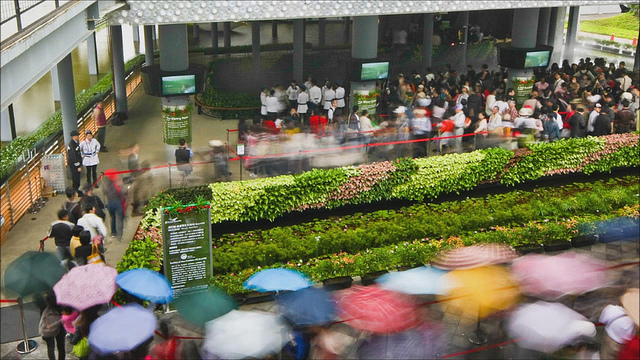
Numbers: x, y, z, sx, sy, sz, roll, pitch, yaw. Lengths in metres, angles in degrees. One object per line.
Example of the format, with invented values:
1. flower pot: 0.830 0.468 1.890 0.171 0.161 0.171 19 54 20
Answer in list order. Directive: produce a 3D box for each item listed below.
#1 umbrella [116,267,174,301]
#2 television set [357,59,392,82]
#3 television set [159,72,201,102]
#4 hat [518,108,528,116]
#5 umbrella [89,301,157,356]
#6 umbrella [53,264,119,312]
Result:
1. umbrella: -4.222 2.532 13.046 1.212 0.654 0.665 -3 17 8
2. television set: 2.313 -4.750 23.533 1.770 0.879 0.345 -13 20 -36
3. television set: -5.254 -3.586 21.324 1.942 1.223 0.999 -1 10 16
4. hat: 7.822 -2.610 20.879 0.275 0.259 0.347 -3 16 10
5. umbrella: -4.382 3.322 12.003 1.248 0.423 1.191 -28 52 -26
6. umbrella: -5.518 2.539 12.812 1.448 0.758 0.808 -12 18 -23
